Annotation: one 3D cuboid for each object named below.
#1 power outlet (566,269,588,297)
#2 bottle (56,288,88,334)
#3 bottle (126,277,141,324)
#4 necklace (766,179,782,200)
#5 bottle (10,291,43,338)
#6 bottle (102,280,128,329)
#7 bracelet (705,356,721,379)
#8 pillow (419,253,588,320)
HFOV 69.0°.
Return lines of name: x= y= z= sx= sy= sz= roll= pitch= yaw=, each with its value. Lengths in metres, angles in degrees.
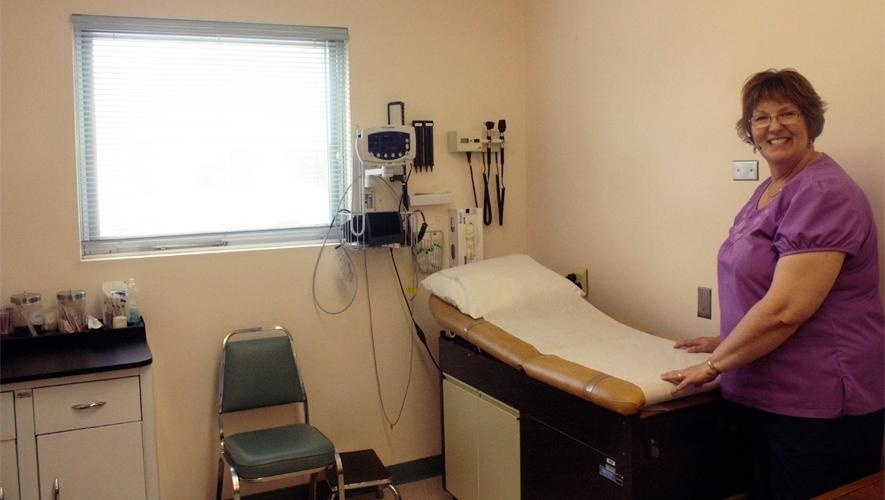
power outlet: x=0.979 y=0.241 z=4.669 sx=0.196 sy=0.175 sz=0.047 roll=11 pitch=12 yaw=41
bottle: x=-2.413 y=0.402 z=4.202 sx=0.170 sy=0.254 sz=0.144 roll=-11 pitch=12 yaw=-30
bottle: x=-2.078 y=0.346 z=4.325 sx=0.075 sy=0.291 sz=0.122 roll=-8 pitch=11 yaw=-15
necklace: x=1.768 y=-0.316 z=3.438 sx=0.077 sy=0.097 sz=0.035 roll=-2 pitch=-23 yaw=15
bottle: x=-2.673 y=0.415 z=4.166 sx=0.178 sy=0.257 sz=0.143 roll=-3 pitch=11 yaw=8
bottle: x=-2.156 y=0.365 z=4.263 sx=0.175 sy=0.291 sz=0.141 roll=-10 pitch=12 yaw=-25
bracelet: x=1.412 y=0.617 z=3.383 sx=0.040 sy=0.097 sz=0.102 roll=-41 pitch=27 yaw=0
pillow: x=0.405 y=0.237 z=4.359 sx=0.637 sy=0.149 sz=0.542 roll=-14 pitch=28 yaw=-27
